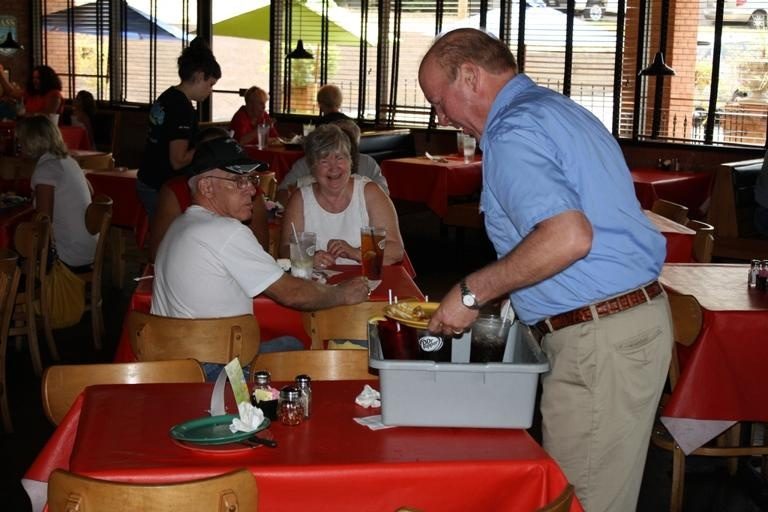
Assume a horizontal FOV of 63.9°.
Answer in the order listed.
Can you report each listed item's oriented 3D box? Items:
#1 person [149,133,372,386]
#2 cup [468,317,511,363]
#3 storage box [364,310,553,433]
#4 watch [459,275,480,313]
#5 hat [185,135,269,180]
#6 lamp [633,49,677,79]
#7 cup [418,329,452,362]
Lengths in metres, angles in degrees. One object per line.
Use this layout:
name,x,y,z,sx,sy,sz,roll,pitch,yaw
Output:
person,-0.614,0.145,2.765,0.822,1.289,0.693,-12,26,-37
cup,0.297,0.236,1.764,0.116,0.131,0.116,4,-3,0
storage box,0.210,0.313,1.768,0.423,0.187,0.317,0,13,0
watch,0.228,0.112,1.694,0.048,0.083,0.075,-17,-5,19
hat,-0.679,-0.411,2.569,0.259,0.116,0.171,-2,9,-1
lamp,3.086,-2.135,7.003,0.427,0.260,0.441,1,12,4
cup,0.145,0.266,1.840,0.088,0.077,0.098,-1,1,2
